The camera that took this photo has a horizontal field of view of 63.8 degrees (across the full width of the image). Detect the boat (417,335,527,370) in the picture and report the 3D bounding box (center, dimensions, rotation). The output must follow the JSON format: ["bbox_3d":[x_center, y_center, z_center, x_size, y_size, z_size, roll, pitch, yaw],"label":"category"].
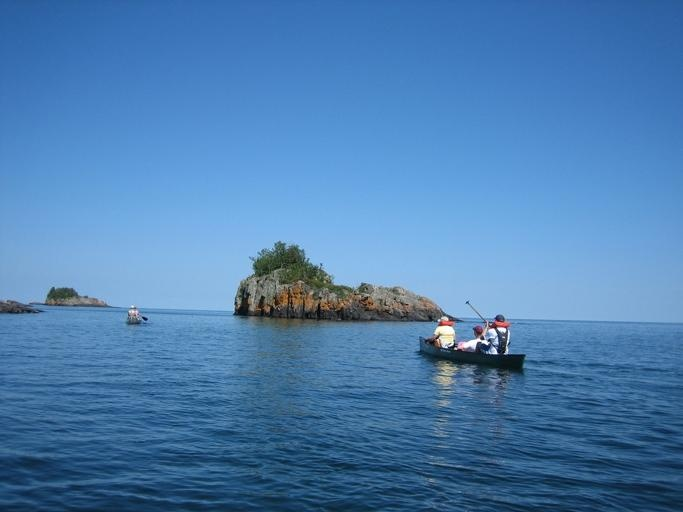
[{"bbox_3d":[7.862,6.306,35.649,2.178,1.321,10.053,7,-9,-23],"label":"boat"}]
